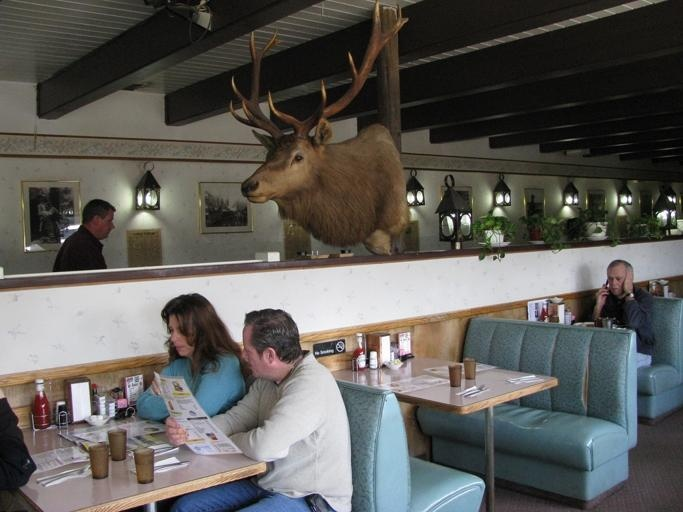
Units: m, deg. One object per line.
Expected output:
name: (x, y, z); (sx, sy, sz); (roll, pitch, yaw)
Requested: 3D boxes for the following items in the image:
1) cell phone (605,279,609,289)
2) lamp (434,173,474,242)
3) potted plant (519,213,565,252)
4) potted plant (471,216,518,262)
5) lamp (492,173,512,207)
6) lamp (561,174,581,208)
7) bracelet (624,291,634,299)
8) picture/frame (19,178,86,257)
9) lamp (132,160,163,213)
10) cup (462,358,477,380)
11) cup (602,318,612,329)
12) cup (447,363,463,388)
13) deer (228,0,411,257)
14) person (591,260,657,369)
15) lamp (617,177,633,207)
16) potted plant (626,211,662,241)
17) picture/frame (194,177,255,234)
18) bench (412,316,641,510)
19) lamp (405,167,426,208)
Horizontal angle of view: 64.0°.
cell phone: (2.688, 0.287, 5.515); (0.051, 0.096, 0.087); (0, -5, 16)
lamp: (1.075, -0.375, 5.164); (0.322, 0.556, 0.306); (-2, 4, 11)
potted plant: (2.153, -0.257, 5.766); (0.403, 0.303, 0.400); (2, -1, -40)
potted plant: (1.425, -0.158, 5.099); (0.377, 0.411, 0.390); (-1, -4, 33)
lamp: (3.125, -1.305, 10.589); (0.325, 0.781, 0.320); (-11, -16, 42)
lamp: (5.026, -1.361, 11.875); (0.220, 0.614, 0.657); (0, 6, 43)
bracelet: (2.760, 0.381, 5.198); (0.056, 0.063, 0.022); (7, -4, 45)
picture/frame: (-3.415, -0.447, 6.324); (0.809, 1.167, 0.051); (-4, 7, -39)
lamp: (-2.497, -0.909, 7.069); (0.299, 0.655, 0.316); (-2, 1, 11)
cup: (0.848, 0.761, 3.665); (0.115, 0.184, 0.111); (-1, -5, 0)
cup: (2.394, 0.613, 4.905); (0.089, 0.116, 0.094); (0, 4, 0)
cup: (0.724, 0.774, 3.510); (0.121, 0.180, 0.119); (0, -7, 0)
deer: (-0.092, -0.921, 4.283); (1.323, 1.891, 0.475); (-4, 4, -19)
person: (2.773, 0.651, 5.357); (0.474, 1.215, 0.598); (-2, 6, -16)
lamp: (6.891, -1.509, 13.205); (0.208, 0.655, 0.668); (0, 6, 43)
potted plant: (3.847, -0.348, 6.870); (0.389, 0.301, 0.886); (-1, 6, 29)
picture/frame: (-1.618, -0.678, 7.265); (0.700, 0.670, 0.053); (3, -5, -39)
bench: (1.495, 1.051, 4.320); (1.844, 1.553, 1.024); (-1, -2, 43)
lamp: (1.216, -1.150, 9.152); (0.337, 0.614, 0.368); (-2, 5, 5)
